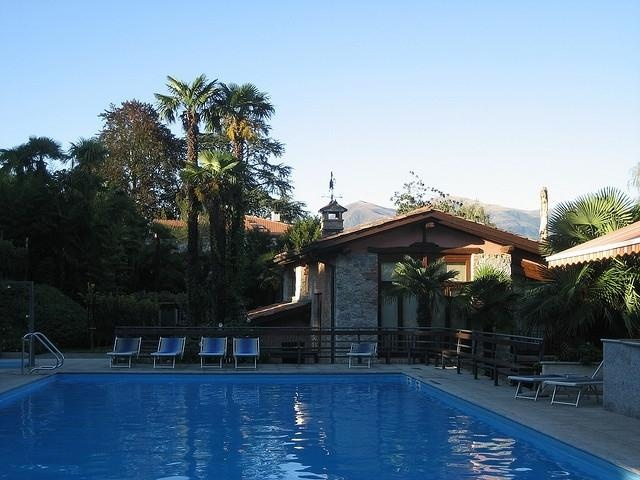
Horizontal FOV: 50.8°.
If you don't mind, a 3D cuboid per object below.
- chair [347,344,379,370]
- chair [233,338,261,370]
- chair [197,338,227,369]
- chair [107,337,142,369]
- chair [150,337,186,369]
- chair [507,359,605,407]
[{"bbox_3d":[1.512,3.992,23.377,0.881,0.924,1.037,-4,-10,15],"label":"chair"},{"bbox_3d":[-2.437,3.673,22.270,0.863,1.055,1.041,0,-8,-10],"label":"chair"},{"bbox_3d":[-3.551,3.692,22.438,0.872,0.944,0.980,1,-9,-9],"label":"chair"},{"bbox_3d":[-6.528,3.756,22.867,0.849,0.912,1.300,0,0,4],"label":"chair"},{"bbox_3d":[-5.004,3.662,22.363,1.004,0.889,1.138,-1,-8,18],"label":"chair"},{"bbox_3d":[5.973,3.535,16.923,2.058,1.072,3.044,-2,-10,20],"label":"chair"}]
